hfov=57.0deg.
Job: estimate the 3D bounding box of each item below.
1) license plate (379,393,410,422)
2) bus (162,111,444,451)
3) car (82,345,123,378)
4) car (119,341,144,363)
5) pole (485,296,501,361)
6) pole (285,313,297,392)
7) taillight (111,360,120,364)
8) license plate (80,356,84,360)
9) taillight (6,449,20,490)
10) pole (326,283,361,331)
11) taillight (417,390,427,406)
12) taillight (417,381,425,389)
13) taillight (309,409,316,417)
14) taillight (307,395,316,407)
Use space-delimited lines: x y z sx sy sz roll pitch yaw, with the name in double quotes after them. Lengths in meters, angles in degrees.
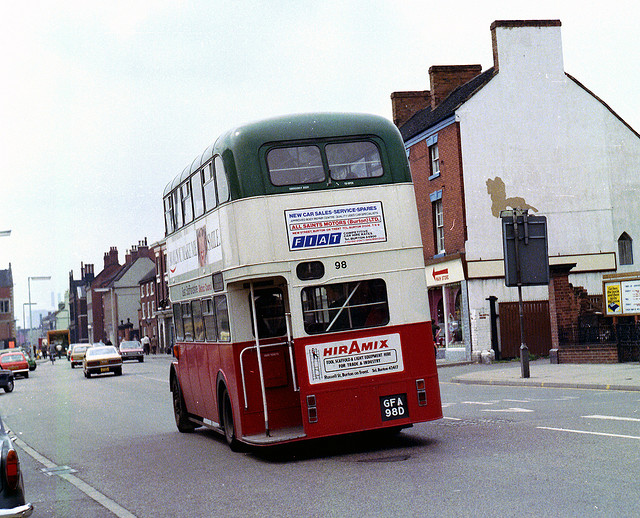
1.122 2.313 9.133 0.307 0.351 0.045 -5 -11 -14 "license plate"
-1.481 0.550 12.178 3.078 5.350 6.929 -8 -1 -32 "bus"
-14.362 6.711 38.493 2.192 1.847 3.292 -3 -6 -33 "car"
-18.932 9.231 58.769 2.825 2.141 1.929 -9 -6 39 "car"
8.612 3.419 29.089 0.478 2.336 0.727 -5 -3 18 "pole"
-0.461 1.476 9.310 0.099 1.238 0.497 -4 -3 -3 "pole"
-13.277 6.599 38.026 0.548 0.217 0.066 -2 -4 -43 "taillight"
-22.731 9.347 55.834 0.650 0.214 0.111 -6 -5 34 "license plate"
-2.587 1.748 4.946 0.081 0.314 0.202 -3 -4 -20 "taillight"
0.352 0.749 9.202 0.575 0.678 0.047 -4 -3 -15 "pole"
1.586 2.183 9.239 0.151 0.195 0.177 1 -2 0 "taillight"
1.578 1.971 9.268 0.087 0.109 0.023 -10 -13 24 "taillight"
-0.128 2.321 8.890 0.091 0.137 0.009 2 -8 2 "taillight"
-0.151 2.144 8.908 0.126 0.230 0.021 0 -3 3 "taillight"
